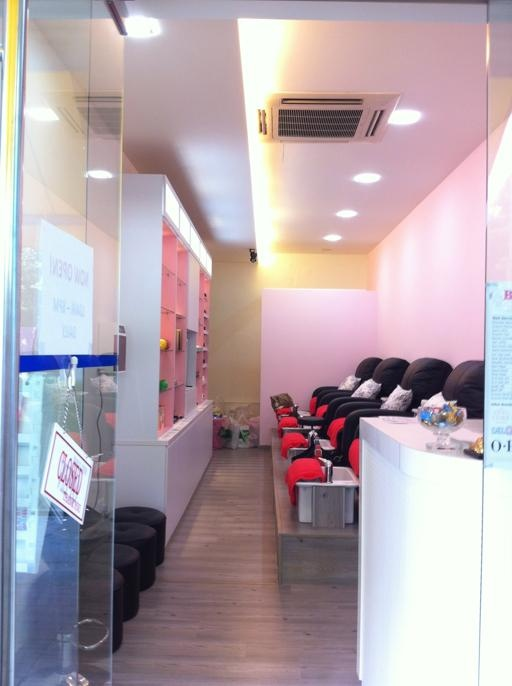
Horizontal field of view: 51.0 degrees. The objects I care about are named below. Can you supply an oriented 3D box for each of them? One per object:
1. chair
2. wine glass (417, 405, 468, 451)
[{"bbox_3d":[1.032,0.436,3.675,0.744,0.850,0.796,2,-9,-6],"label":"chair"},{"bbox_3d":[0.511,0.217,1.469,0.126,0.145,0.136,-2,6,19],"label":"wine glass"}]
